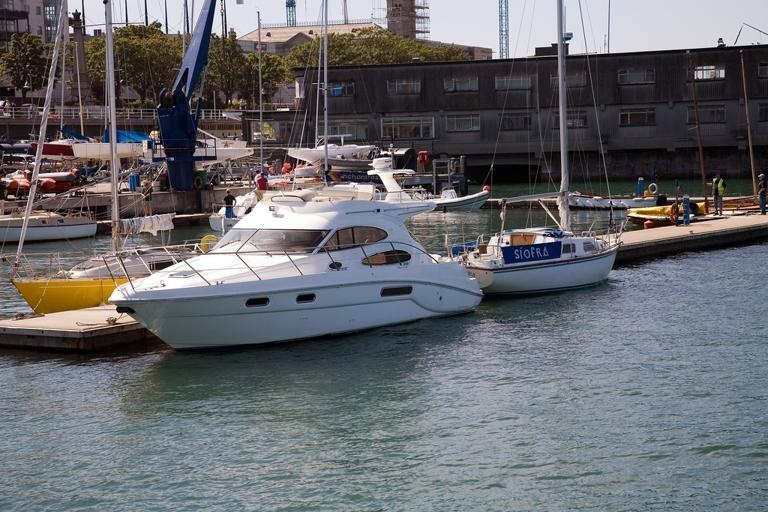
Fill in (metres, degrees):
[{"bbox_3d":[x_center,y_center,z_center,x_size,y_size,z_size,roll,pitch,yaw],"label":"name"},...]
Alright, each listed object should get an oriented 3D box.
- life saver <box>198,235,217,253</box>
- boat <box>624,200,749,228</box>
[{"bbox_3d":[-5.831,-0.382,29.889,0.672,0.242,0.553,-27,-42,15],"label":"life saver"},{"bbox_3d":[15.341,-1.971,43.240,7.527,1.301,2.051,-4,5,3],"label":"boat"}]
